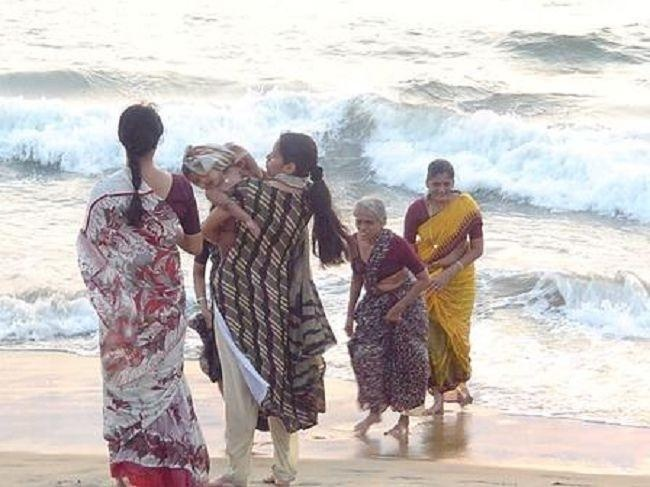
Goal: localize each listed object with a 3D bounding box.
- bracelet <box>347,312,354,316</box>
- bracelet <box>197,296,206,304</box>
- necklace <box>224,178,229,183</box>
[{"bbox_3d":[0.372,1.060,18.378,0.071,0.064,0.070,-4,-8,31],"label":"bracelet"},{"bbox_3d":[-1.743,0.797,17.129,0.101,0.066,0.096,-1,4,-8],"label":"bracelet"},{"bbox_3d":[-1.383,-0.875,16.982,0.060,0.053,0.014,1,-5,4],"label":"necklace"}]
